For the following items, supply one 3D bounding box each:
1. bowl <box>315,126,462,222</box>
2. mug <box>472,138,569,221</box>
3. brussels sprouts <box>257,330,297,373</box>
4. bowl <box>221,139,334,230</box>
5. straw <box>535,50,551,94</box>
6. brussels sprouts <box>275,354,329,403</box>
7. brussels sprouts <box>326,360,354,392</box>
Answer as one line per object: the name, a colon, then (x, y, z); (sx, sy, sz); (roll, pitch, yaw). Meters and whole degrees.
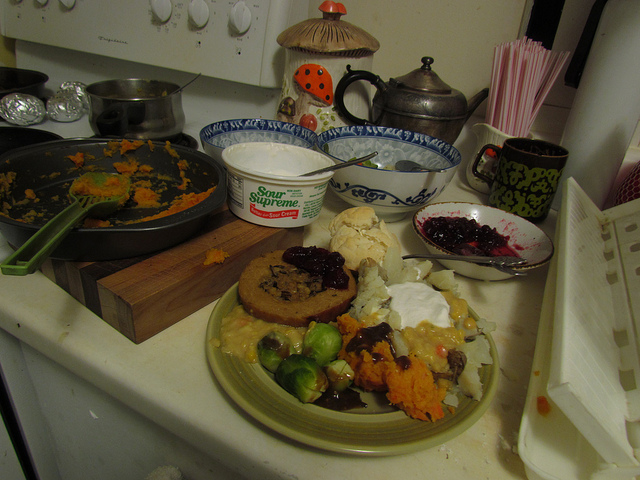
bowl: (0.162, -0.178, 1.177); (0.294, 0.136, 0.292); (5, 34, -4)
mug: (0.523, -0.177, 1.301); (0.195, 0.195, 0.220); (21, 25, 33)
brussels sprouts: (-0.070, 0.179, 0.786); (0.051, 0.038, 0.067); (-28, 7, -5)
bowl: (-0.093, -0.097, 1.073); (0.236, 0.202, 0.203); (-3, 36, -11)
straw: (0.554, -0.429, 1.219); (0.018, 0.104, 0.014); (4, 45, -16)
brussels sprouts: (-0.027, 0.215, 0.760); (0.078, 0.045, 0.058); (26, 41, 28)
brussels sprouts: (0.042, 0.217, 0.762); (0.039, 0.016, 0.043); (2, 64, -4)
